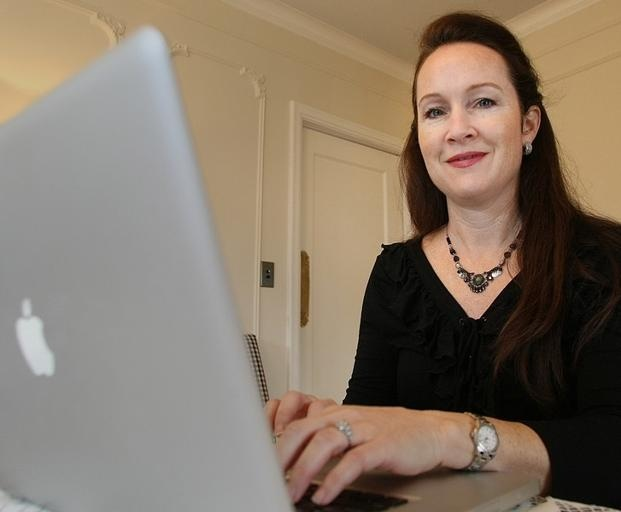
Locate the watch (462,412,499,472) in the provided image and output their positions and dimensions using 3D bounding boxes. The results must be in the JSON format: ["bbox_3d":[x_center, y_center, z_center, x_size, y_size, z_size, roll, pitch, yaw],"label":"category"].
[{"bbox_3d":[0.200,0.216,0.600,0.032,0.053,0.047,12,-49,7],"label":"watch"}]

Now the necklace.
[{"bbox_3d":[0.394,0.013,1.166,0.157,0.169,0.020,0,-34,26],"label":"necklace"}]

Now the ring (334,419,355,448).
[{"bbox_3d":[0.034,0.186,0.550,0.020,0.021,0.021,-8,-29,-4],"label":"ring"}]
